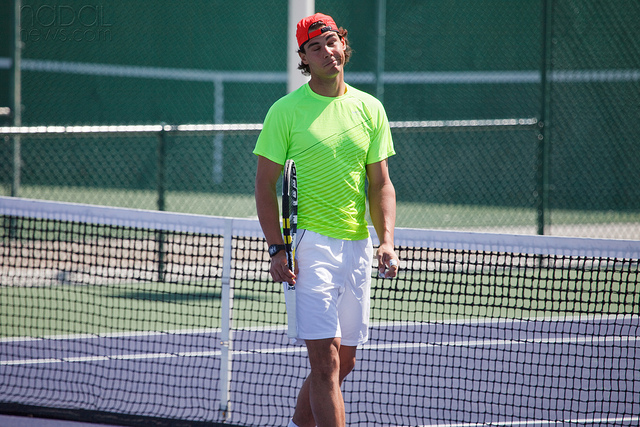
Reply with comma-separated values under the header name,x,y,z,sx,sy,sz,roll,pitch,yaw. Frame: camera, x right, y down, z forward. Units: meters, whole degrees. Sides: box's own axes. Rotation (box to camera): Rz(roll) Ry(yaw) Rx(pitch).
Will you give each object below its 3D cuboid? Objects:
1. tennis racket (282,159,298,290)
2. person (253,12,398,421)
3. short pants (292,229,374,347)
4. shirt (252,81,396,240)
name,x,y,z,sx,sy,sz,roll,pitch,yaw
tennis racket,-0.270,0.021,8.488,0.114,0.936,0.237,-1,-9,11
person,0.044,0.036,8.575,1.229,3.484,0.611,1,-9,-4
short pants,0.071,0.628,8.535,0.636,1.085,0.481,8,-15,-28
shirt,0.094,-0.413,8.755,1.315,1.615,0.533,0,-9,-18
